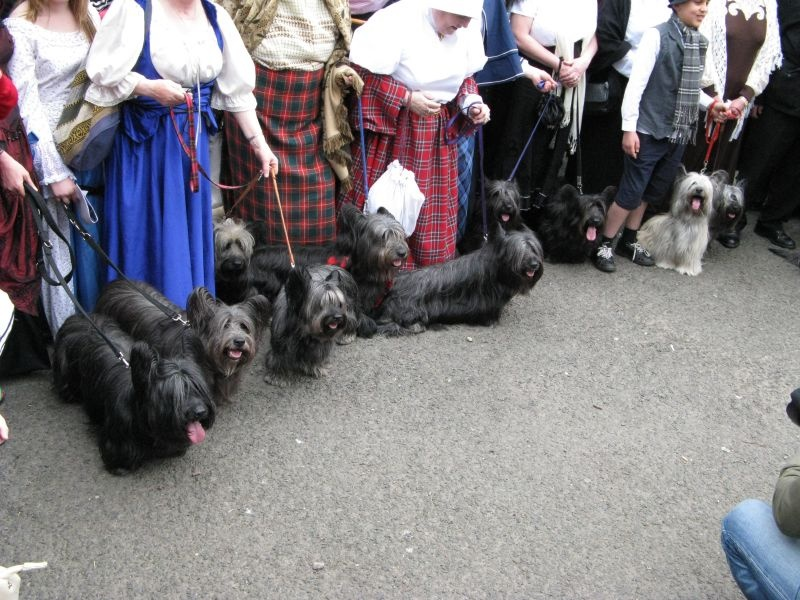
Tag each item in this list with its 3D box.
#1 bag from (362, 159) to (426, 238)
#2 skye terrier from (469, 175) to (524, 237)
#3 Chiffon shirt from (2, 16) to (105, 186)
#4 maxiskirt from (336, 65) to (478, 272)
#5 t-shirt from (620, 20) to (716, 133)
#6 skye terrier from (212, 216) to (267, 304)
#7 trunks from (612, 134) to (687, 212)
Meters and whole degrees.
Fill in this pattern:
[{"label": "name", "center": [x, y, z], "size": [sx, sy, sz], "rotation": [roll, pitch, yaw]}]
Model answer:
[{"label": "bag", "center": [-0.054, -0.806, 5.076], "size": [0.433, 0.535, 0.277], "rotation": [22, 6, -12]}, {"label": "skye terrier", "center": [0.882, -0.807, 5.839], "size": [0.459, 0.631, 0.446], "rotation": [-6, 32, -12]}, {"label": "Chiffon shirt", "center": [-2.059, -1.198, 3.883], "size": [0.331, 1.131, 0.502], "rotation": [12, 32, 9]}, {"label": "maxiskirt", "center": [0.194, -1.384, 5.444], "size": [0.908, 0.634, 2.281], "rotation": [6, 64, 7]}, {"label": "t-shirt", "center": [2.408, -1.906, 5.692], "size": [0.739, 1.090, 0.547], "rotation": [11, 0, 3]}, {"label": "skye terrier", "center": [-1.242, -0.334, 4.933], "size": [0.350, 0.649, 0.595], "rotation": [-2, 18, -23]}, {"label": "trunks", "center": [2.353, -1.243, 6.139], "size": [0.480, 0.887, 0.319], "rotation": [6, 45, 10]}]
